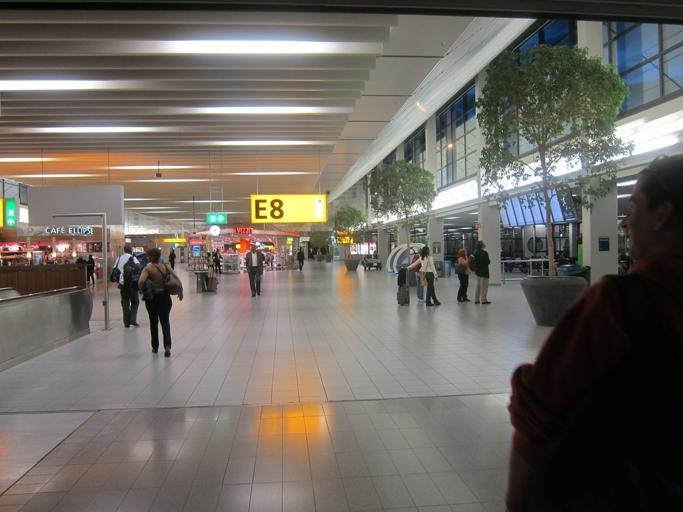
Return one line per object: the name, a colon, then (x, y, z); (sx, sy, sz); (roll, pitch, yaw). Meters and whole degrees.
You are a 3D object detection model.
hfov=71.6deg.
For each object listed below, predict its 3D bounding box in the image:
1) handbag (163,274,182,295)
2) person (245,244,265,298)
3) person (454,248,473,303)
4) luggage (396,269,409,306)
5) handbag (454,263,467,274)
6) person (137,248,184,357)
handbag: (-2.672, 0.449, 7.626); (0.167, 0.294, 0.274); (-2, 2, 17)
person: (-3.143, 0.572, 17.432); (0.673, 1.377, 1.572); (-3, 2, -10)
person: (3.748, 0.528, 14.521); (0.432, 1.578, 1.580); (-2, 2, 15)
luggage: (1.780, 0.850, 13.579); (0.291, 1.080, 0.418); (-2, 1, 5)
handbag: (3.685, 0.363, 14.475); (0.279, 0.295, 0.278); (1, -4, 1)
person: (-2.983, 0.717, 7.906); (0.636, 1.585, 1.031); (-3, 2, -22)
